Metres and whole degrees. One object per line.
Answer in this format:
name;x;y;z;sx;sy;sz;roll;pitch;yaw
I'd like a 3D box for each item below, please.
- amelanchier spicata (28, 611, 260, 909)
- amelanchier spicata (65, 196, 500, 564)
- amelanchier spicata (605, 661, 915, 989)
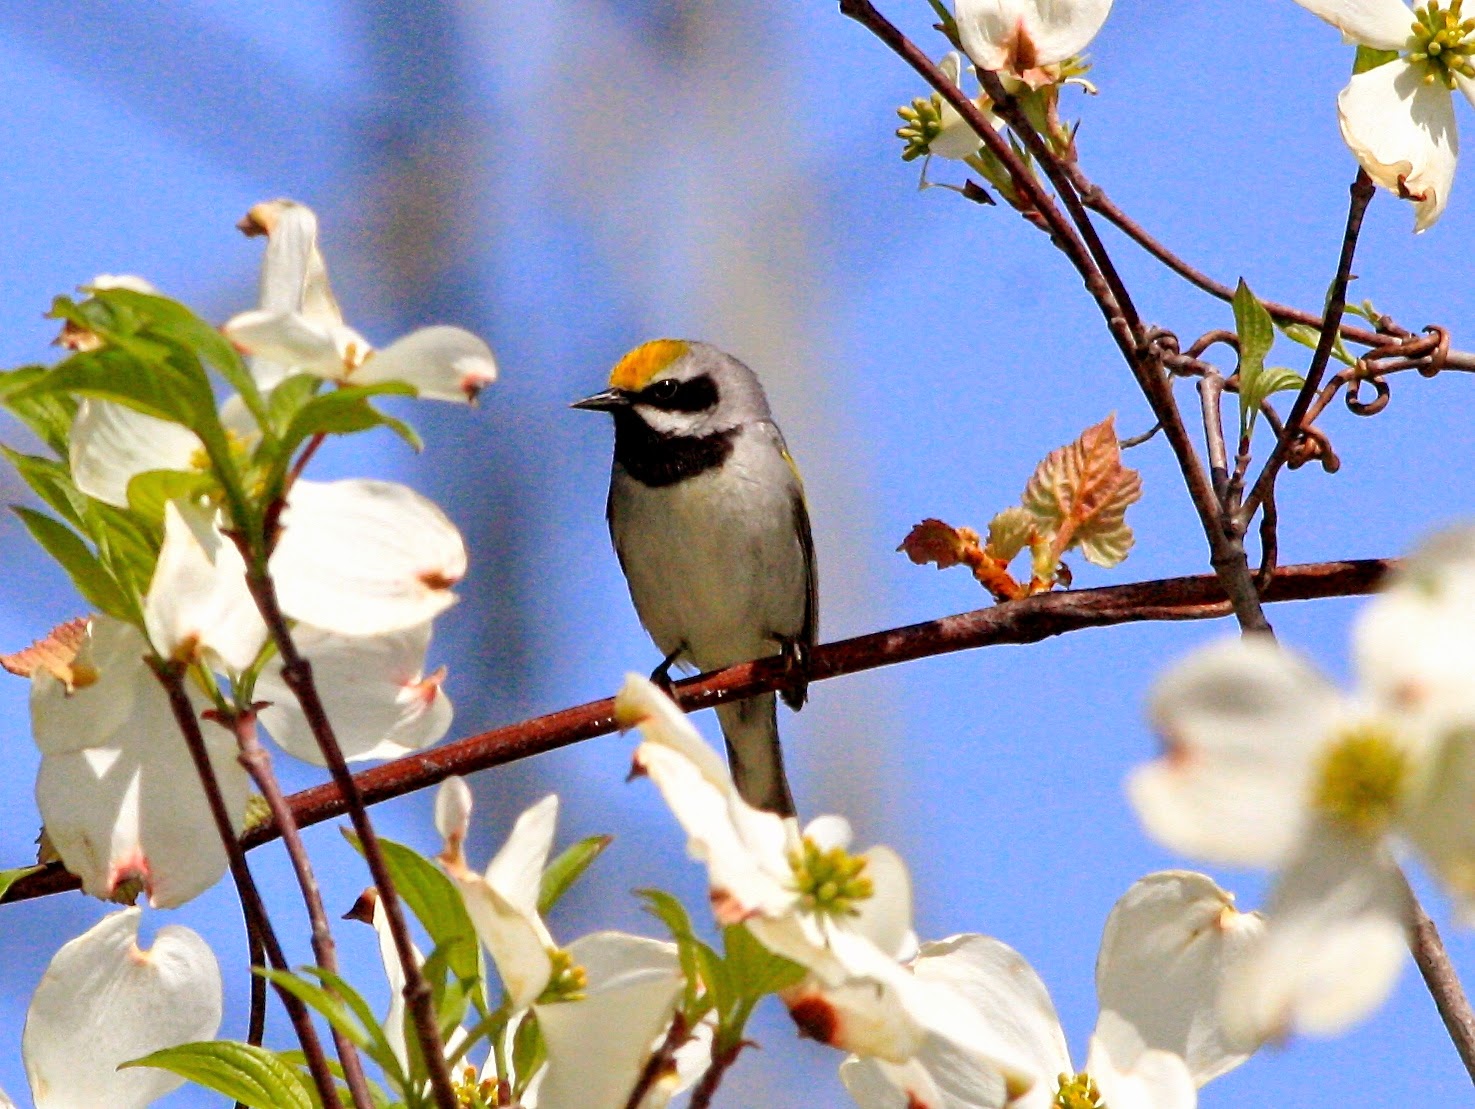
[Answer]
amelanchier spicata;-0.589;0.197;2.275;0.225;0.064;0.273;-21;-83;11
amelanchier spicata;-0.434;-0.108;2.187;0.370;0.395;0.207;6;-80;-2
amelanchier spicata;0.035;0.265;1.995;0.107;0.215;0.378;-31;-96;20
